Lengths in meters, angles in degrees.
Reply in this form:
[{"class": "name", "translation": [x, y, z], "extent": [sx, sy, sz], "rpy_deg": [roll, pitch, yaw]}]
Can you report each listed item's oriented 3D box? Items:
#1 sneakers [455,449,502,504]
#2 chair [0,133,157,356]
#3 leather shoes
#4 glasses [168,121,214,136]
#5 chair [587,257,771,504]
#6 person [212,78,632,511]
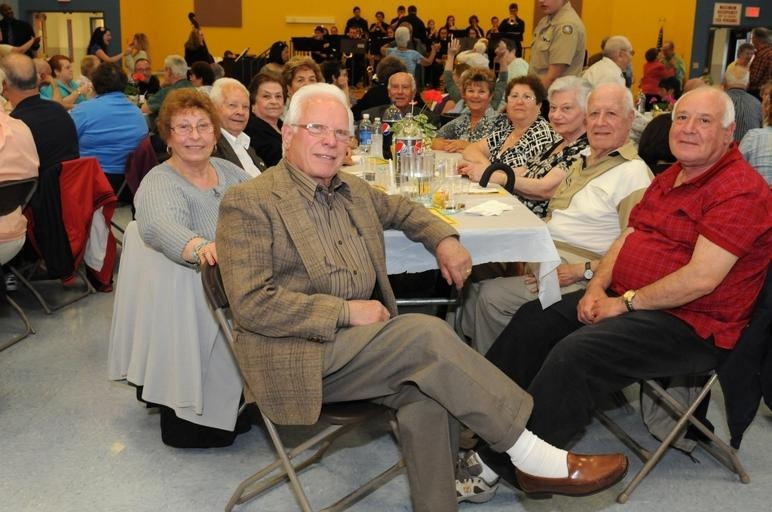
[{"class": "sneakers", "translation": [0.396, 0.965, 2.588], "extent": [0.125, 0.179, 0.382], "rpy_deg": [-2, 4, 2]}, {"class": "chair", "translation": [-2.464, -0.191, 4.395], "extent": [0.482, 1.082, 0.727], "rpy_deg": [15, 25, 29]}, {"class": "leather shoes", "translation": [0.715, 0.854, 2.294], "extent": [0.439, 0.169, 0.176], "rpy_deg": [-11, 13, 11]}, {"class": "glasses", "translation": [-0.964, -0.641, 2.891], "extent": [0.196, 0.057, 0.110], "rpy_deg": [-6, 24, -20]}, {"class": "chair", "translation": [1.362, 0.677, 2.909], "extent": [0.576, 0.688, 0.717], "rpy_deg": [-3, 14, -4]}, {"class": "person", "translation": [-0.037, 0.110, 2.291], "extent": [1.176, 1.417, 0.878], "rpy_deg": [17, 26, 32]}]
